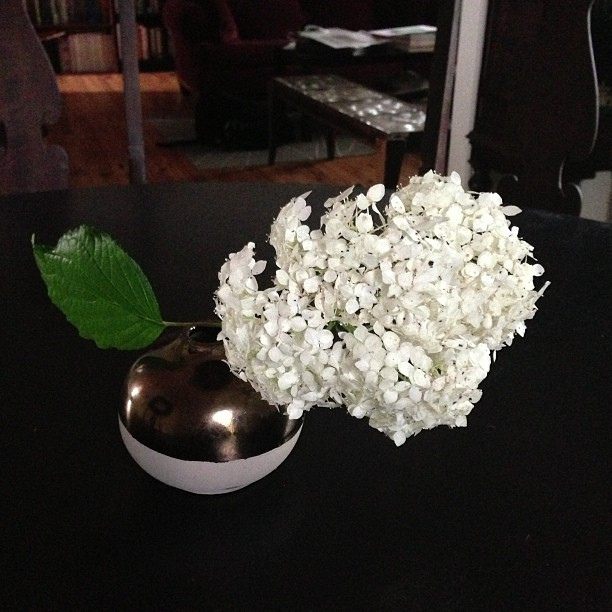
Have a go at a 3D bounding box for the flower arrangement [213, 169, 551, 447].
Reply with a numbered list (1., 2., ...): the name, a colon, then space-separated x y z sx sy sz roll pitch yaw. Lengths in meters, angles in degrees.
1. flower arrangement: 0.062 0.004 0.496 0.203 0.155 0.220 22 47 39

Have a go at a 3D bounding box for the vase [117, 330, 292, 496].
1. vase: -0.082 0.086 0.483 0.122 0.105 0.092 25 40 33
